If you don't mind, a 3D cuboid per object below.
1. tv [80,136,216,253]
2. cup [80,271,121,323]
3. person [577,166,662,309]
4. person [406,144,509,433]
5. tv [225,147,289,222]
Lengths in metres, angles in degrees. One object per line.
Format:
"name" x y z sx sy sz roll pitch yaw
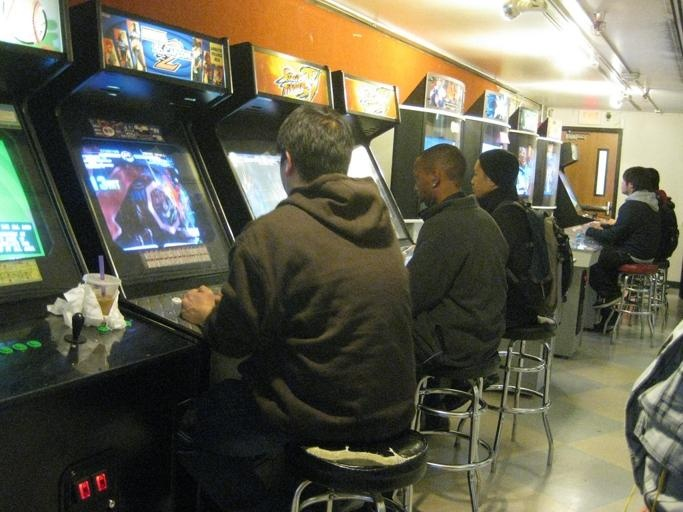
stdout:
"tv" -0.873 -0.261 2.341 0.197 0.432 0.526 -26 -10 29
"cup" -0.851 0.131 1.901 0.143 0.192 0.147 -2 -3 0
"person" 3.234 -0.184 6.064 0.915 1.673 0.618 -7 14 -40
"person" 0.610 0.273 2.789 0.534 1.704 0.696 4 11 7
"tv" -0.455 -0.424 2.893 0.100 0.398 0.450 -15 -1 31
